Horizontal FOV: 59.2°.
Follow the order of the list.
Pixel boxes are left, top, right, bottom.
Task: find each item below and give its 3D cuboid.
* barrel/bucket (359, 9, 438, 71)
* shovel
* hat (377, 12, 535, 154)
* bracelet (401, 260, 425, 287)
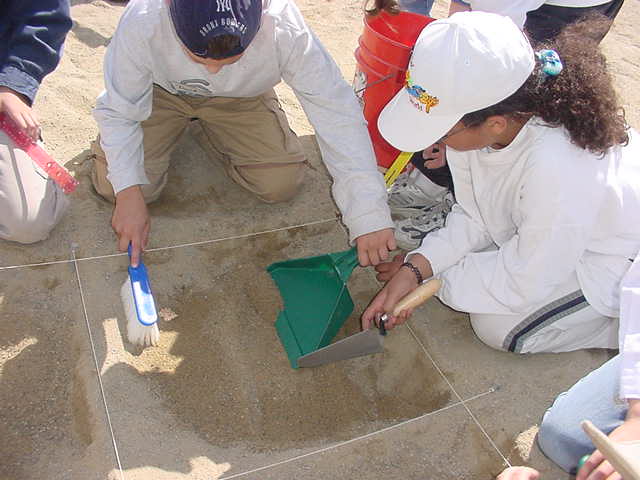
[{"bbox_3d":[0.351,-0.888,2.661,0.236,0.247,0.265,16,81,8],"label":"barrel/bucket"},{"bbox_3d":[0.187,0.338,2.200,0.074,0.480,0.114,50,24,-24],"label":"shovel"},{"bbox_3d":[0.468,-0.486,1.961,0.512,0.230,0.344,-40,61,12],"label":"hat"},{"bbox_3d":[0.368,0.135,2.218,0.085,0.030,0.075,50,50,-14],"label":"bracelet"}]
